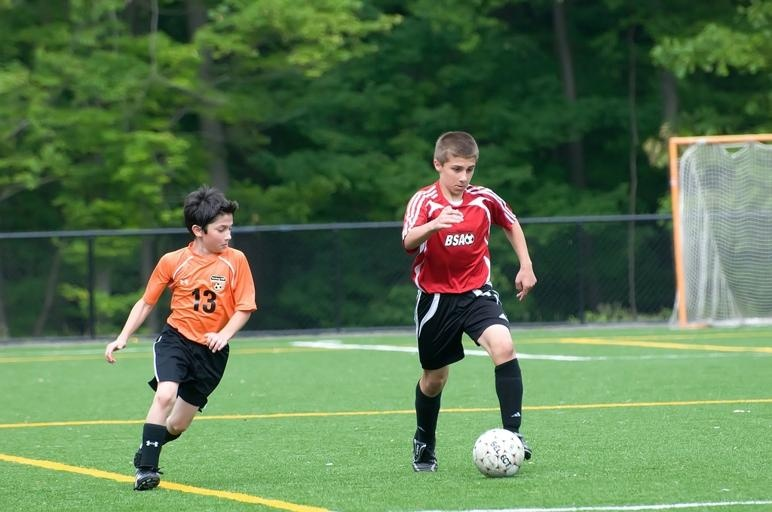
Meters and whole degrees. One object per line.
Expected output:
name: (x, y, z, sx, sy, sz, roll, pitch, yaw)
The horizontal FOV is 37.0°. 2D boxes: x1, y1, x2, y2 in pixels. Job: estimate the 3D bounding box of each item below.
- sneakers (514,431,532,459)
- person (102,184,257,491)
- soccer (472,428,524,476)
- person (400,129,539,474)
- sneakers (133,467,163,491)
sneakers: (1.437, 2.057, 12.308, 0.161, 0.273, 0.214, -20, -1, 16)
person: (-2.110, 0.874, 12.460, 1.357, 3.241, 0.470, -1, 2, -12)
soccer: (1.169, 2.072, 12.357, 0.503, 0.475, 0.496, 0, 3, -20)
person: (0.832, 0.501, 12.375, 1.282, 3.665, 0.764, 0, 2, 0)
sneakers: (-2.534, 2.385, 12.284, 0.291, 0.233, 0.222, -1, 2, -25)
